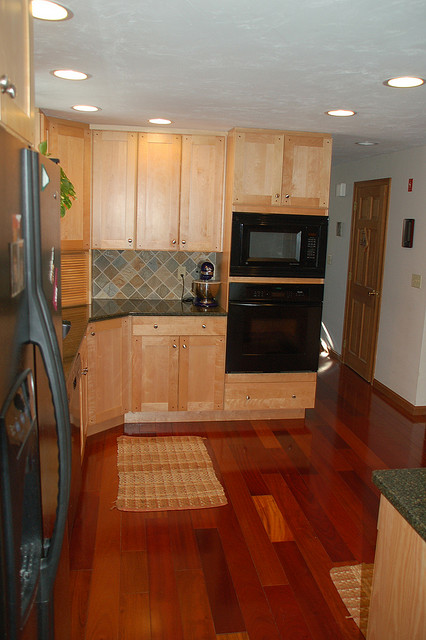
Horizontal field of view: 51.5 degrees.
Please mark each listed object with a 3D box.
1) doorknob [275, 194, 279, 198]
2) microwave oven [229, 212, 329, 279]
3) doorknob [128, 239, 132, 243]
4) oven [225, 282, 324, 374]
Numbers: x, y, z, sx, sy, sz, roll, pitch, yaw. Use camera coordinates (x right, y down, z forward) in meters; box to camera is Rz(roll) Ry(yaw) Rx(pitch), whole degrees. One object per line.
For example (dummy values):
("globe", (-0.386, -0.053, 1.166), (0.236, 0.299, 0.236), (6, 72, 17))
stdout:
("doorknob", (0.540, -1.046, 3.723), (0.024, 0.027, 0.015), (3, 10, 4))
("microwave oven", (0.576, -0.579, 4.016), (0.828, 0.607, 0.475), (3, -11, -1))
("doorknob", (-0.735, -0.701, 3.906), (0.021, 0.021, 0.023), (7, 22, 16))
("oven", (0.600, 0.149, 4.161), (0.846, 0.918, 0.601), (0, -20, 12))
